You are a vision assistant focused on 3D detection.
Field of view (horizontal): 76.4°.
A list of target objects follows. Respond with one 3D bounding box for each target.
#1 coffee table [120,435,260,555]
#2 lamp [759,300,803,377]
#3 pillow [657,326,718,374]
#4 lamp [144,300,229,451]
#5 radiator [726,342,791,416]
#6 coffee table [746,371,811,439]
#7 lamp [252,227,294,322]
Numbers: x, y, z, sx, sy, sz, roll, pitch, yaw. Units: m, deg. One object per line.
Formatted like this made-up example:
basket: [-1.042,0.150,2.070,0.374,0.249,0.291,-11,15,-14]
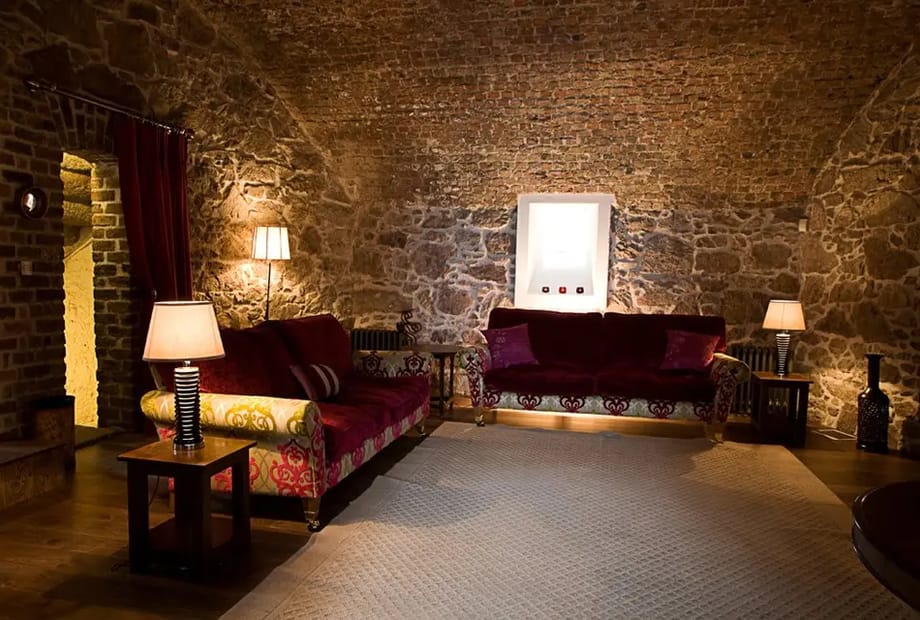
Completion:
coffee table: [-1.753,1.220,3.838,0.734,0.558,0.767,0,-11,-14]
lamp: [3.362,0.249,6.154,0.349,0.744,0.787,9,15,30]
pillow: [2.375,0.425,6.091,0.517,0.357,0.378,5,14,19]
lamp: [-1.751,0.404,3.806,0.449,0.911,0.364,-6,15,-27]
radiator: [3.303,0.766,6.669,0.715,0.737,0.187,-1,3,-3]
coffee table: [3.259,0.962,6.178,0.688,0.763,0.653,2,3,24]
lamp: [-2.257,-0.435,7.232,0.423,1.200,0.628,-3,14,-15]
